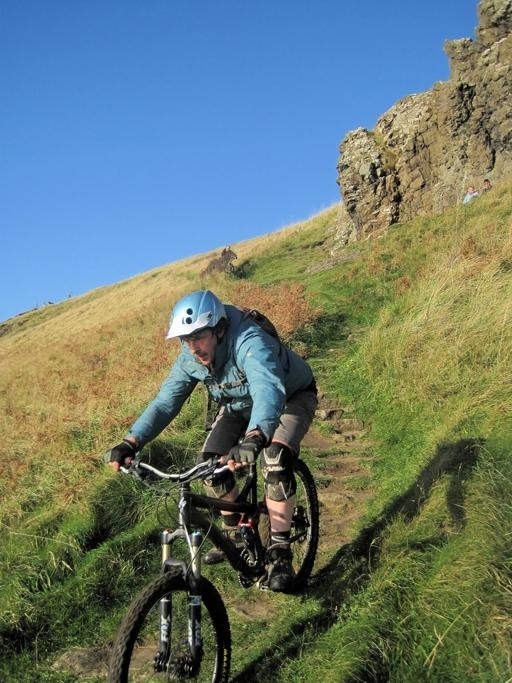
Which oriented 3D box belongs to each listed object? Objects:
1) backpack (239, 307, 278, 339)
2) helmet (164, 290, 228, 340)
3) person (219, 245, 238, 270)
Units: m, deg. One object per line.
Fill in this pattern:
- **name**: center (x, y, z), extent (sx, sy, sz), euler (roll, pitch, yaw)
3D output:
- **backpack**: center (0.034, -0.164, 5.152), extent (0.136, 0.280, 0.207), euler (-53, -7, 6)
- **helmet**: center (-0.453, -0.234, 4.823), extent (0.389, 0.293, 0.560), euler (-3, 11, 39)
- **person**: center (-1.383, -4.003, 31.794), extent (0.904, 1.077, 1.813), euler (-1, 8, -4)
